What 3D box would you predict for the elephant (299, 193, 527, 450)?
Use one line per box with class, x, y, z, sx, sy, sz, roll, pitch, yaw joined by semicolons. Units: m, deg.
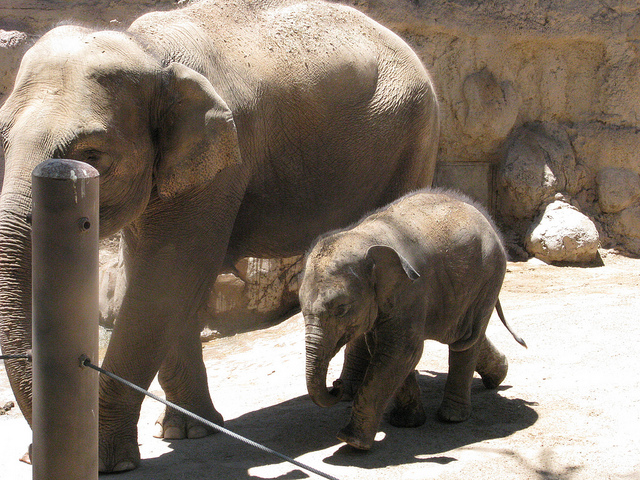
elephant;0.591;0.441;7.172;1.724;1.391;0.960;-9;14;-37
